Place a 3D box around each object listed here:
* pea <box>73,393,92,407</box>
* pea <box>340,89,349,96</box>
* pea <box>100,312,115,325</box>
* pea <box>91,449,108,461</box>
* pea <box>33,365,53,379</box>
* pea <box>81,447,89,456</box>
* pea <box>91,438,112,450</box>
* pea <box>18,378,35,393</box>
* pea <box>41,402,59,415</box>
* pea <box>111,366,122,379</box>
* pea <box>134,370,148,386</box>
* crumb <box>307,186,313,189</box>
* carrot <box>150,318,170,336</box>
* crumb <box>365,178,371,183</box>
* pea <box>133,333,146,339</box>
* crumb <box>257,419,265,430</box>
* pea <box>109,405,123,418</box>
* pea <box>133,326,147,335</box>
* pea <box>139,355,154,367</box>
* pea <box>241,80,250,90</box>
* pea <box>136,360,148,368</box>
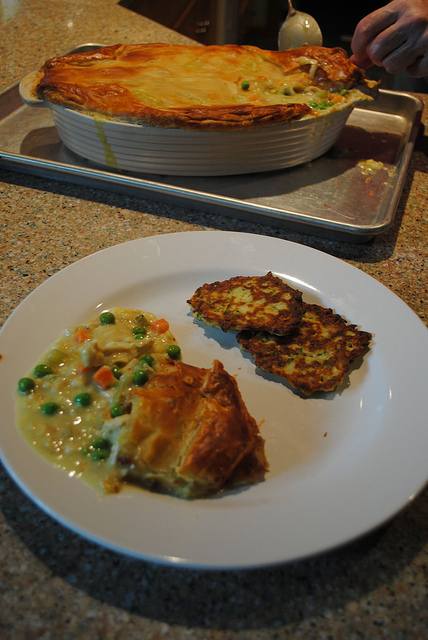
[{"bbox_3d":[-0.292,0.179,1.279,0.028,0.020,0.031,29,89,-1],"label":"pea"},{"bbox_3d":[0.501,-0.874,2.176,0.035,0.028,0.054,5,11,3],"label":"pea"},{"bbox_3d":[-0.271,0.001,1.486,0.034,0.026,0.026,52,53,-14],"label":"pea"},{"bbox_3d":[-0.235,0.282,1.180,0.034,0.014,0.021,-3,44,-5],"label":"pea"},{"bbox_3d":[-0.398,0.120,1.330,0.028,0.019,0.034,22,54,-3],"label":"pea"},{"bbox_3d":[-0.267,0.276,1.191,0.016,0.005,0.021,-5,43,-8],"label":"pea"},{"bbox_3d":[-0.228,0.259,1.194,0.025,0.011,0.023,20,85,-17],"label":"pea"},{"bbox_3d":[-0.423,0.149,1.301,0.034,0.029,0.029,-4,53,-7],"label":"pea"},{"bbox_3d":[-0.360,0.196,1.267,0.032,0.022,0.022,-16,59,-32],"label":"pea"},{"bbox_3d":[-0.230,0.126,1.353,0.024,0.018,0.024,-8,81,1],"label":"pea"},{"bbox_3d":[-0.163,0.132,1.282,0.027,0.024,0.033,14,44,-1],"label":"pea"},{"bbox_3d":[0.353,-0.488,2.088,0.012,0.003,0.009,-3,51,-1],"label":"crumb"},{"bbox_3d":[-0.140,0.020,1.511,0.041,0.033,0.050,-8,39,-12],"label":"carrot"},{"bbox_3d":[0.580,-0.527,2.134,0.019,0.005,0.018,1,43,26],"label":"crumb"},{"bbox_3d":[-0.186,0.043,1.453,0.029,0.014,0.027,-7,44,-9],"label":"pea"},{"bbox_3d":[0.112,0.244,1.334,0.007,0.007,0.027,28,34,6],"label":"crumb"},{"bbox_3d":[-0.207,0.198,1.224,0.023,0.023,0.022,1,3,6],"label":"pea"},{"bbox_3d":[-0.191,0.028,1.483,0.034,0.027,0.040,-6,44,-8],"label":"pea"},{"bbox_3d":[-0.155,0.096,1.369,0.025,0.027,0.026,19,34,38],"label":"pea"},{"bbox_3d":[0.116,-0.888,2.142,0.029,0.026,0.034,-16,46,-20],"label":"pea"},{"bbox_3d":[-0.173,0.103,1.345,0.016,0.008,0.015,9,35,15],"label":"pea"}]
